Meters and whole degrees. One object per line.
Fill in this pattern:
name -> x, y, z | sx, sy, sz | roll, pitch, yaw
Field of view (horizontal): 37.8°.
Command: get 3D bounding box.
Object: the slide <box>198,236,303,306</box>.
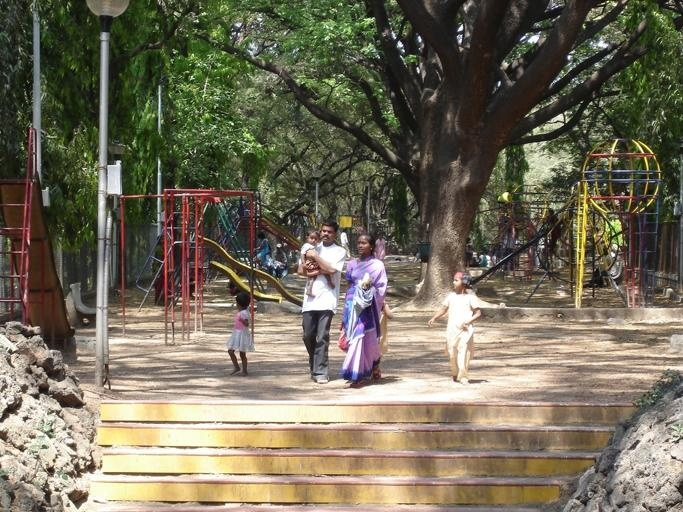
slide -> -2.621, 0.421, 27.849 | 2.924, 0.386, 0.726 | 33, 39, -10

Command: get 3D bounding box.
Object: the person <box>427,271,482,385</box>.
person -> 1.705, 1.019, 14.549 | 0.588, 1.563, 0.943 | 1, 6, 7

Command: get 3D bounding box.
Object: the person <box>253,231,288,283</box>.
person -> -2.505, 0.121, 35.227 | 1.018, 1.172, 1.716 | -7, 20, 33
